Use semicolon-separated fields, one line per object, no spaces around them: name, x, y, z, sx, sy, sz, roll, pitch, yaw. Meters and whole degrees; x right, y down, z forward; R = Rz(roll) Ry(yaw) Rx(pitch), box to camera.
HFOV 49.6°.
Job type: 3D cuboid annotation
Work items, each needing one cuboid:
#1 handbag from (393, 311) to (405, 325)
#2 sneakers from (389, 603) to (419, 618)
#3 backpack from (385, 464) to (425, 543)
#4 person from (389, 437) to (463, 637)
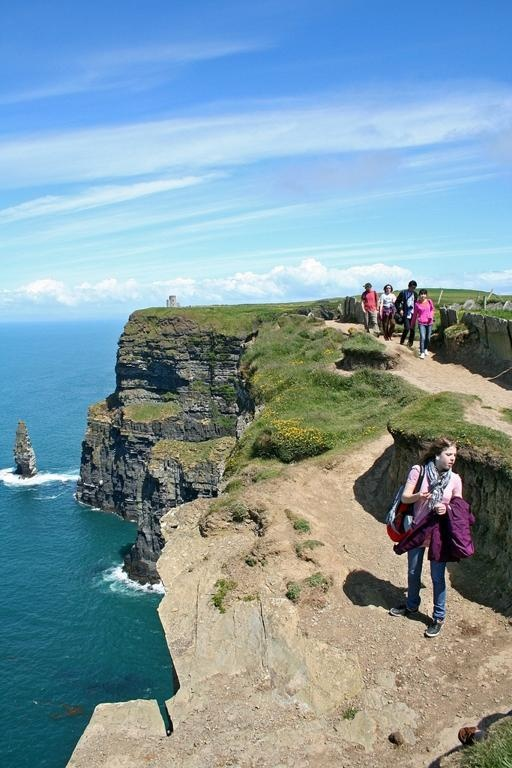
handbag;6.214;-2.872;24.240;0.433;0.450;0.333;-5;2;42
sneakers;2.382;3.689;9.016;0.483;0.194;0.170;4;-3;8
backpack;2.055;1.839;8.366;0.395;1.066;0.632;12;12;4
person;2.543;2.294;8.230;0.800;3.037;1.170;-1;6;5
